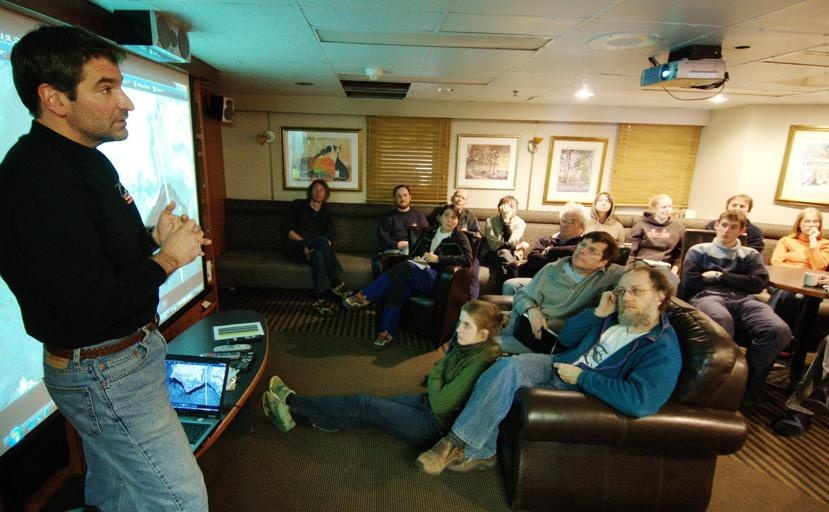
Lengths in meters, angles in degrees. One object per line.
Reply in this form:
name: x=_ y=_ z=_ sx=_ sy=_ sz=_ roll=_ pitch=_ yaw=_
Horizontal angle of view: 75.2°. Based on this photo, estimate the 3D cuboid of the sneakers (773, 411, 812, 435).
sneakers: x=2.995 y=1.322 z=4.307 sx=0.340 sy=0.162 sz=0.169 roll=1 pitch=12 yaw=-6

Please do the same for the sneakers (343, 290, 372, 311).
sneakers: x=-0.593 y=0.468 z=5.669 sx=0.313 sy=0.169 sz=0.174 roll=8 pitch=10 yaw=-17

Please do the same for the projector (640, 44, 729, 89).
projector: x=2.276 y=-1.532 z=4.463 sx=0.450 sy=0.199 sz=0.440 roll=0 pitch=7 yaw=-5

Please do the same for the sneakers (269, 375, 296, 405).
sneakers: x=-1.056 y=1.044 z=4.230 sx=0.274 sy=0.107 sz=0.119 roll=39 pitch=32 yaw=-4

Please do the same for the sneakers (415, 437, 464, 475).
sneakers: x=0.195 y=1.381 z=3.823 sx=0.420 sy=0.159 sz=0.173 roll=-4 pitch=26 yaw=-45

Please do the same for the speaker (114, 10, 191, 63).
speaker: x=-1.980 y=-1.544 z=4.093 sx=0.298 sy=0.230 sz=0.514 roll=1 pitch=5 yaw=-3

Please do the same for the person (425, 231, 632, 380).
person: x=1.146 y=0.341 z=4.329 sx=0.948 sy=1.007 sz=0.950 roll=16 pitch=15 yaw=10

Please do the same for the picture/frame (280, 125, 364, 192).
picture/frame: x=-1.223 y=-1.263 z=6.891 sx=1.075 sy=0.715 sz=0.040 roll=0 pitch=9 yaw=-7

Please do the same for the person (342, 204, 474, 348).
person: x=-0.050 y=0.145 z=5.449 sx=0.830 sy=1.290 sz=1.235 roll=14 pitch=7 yaw=36

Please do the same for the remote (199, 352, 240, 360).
remote: x=-1.392 y=0.718 z=3.877 sx=0.277 sy=0.033 sz=0.059 roll=3 pitch=43 yaw=-2

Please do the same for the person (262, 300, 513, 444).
person: x=-0.290 y=0.923 z=4.259 sx=2.034 sy=1.056 sz=0.758 roll=0 pitch=2 yaw=18

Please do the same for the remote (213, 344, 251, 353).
remote: x=-1.371 y=0.697 z=4.070 sx=0.182 sy=0.031 sz=0.089 roll=-2 pitch=11 yaw=-8

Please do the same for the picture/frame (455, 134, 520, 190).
picture/frame: x=0.935 y=-1.256 z=7.111 sx=0.860 sy=0.642 sz=0.059 roll=1 pitch=11 yaw=-6

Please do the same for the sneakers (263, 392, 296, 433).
sneakers: x=-1.040 y=1.177 z=4.166 sx=0.365 sy=0.160 sz=0.149 roll=41 pitch=39 yaw=21
